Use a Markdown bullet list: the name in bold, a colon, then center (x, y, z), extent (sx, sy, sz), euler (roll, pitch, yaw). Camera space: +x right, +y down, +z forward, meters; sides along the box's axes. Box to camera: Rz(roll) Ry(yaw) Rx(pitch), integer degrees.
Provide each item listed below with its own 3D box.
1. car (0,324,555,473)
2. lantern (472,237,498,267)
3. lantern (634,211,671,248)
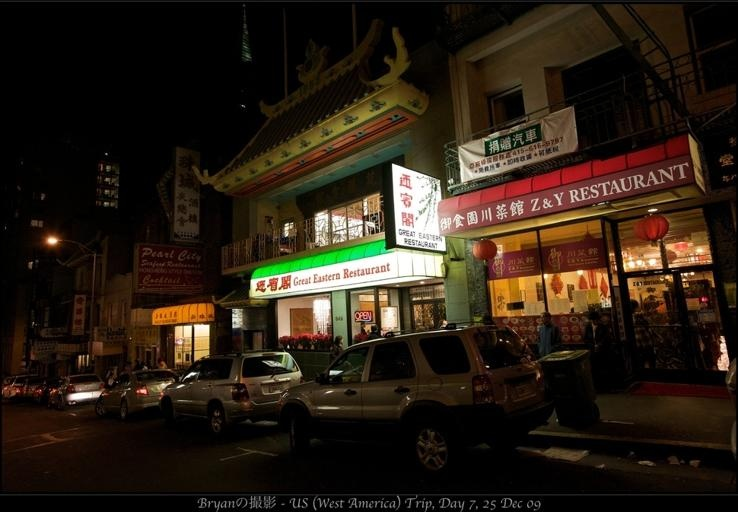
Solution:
- **car**: center (-0.555, 3.510, 14.535), extent (9.742, 2.545, 3.288), euler (-8, -16, 35)
- **lantern**: center (3.553, -0.147, 17.346), extent (0.727, 0.776, 0.707), euler (1, -5, -5)
- **lantern**: center (7.774, -0.723, 15.113), extent (0.894, 0.955, 0.869), euler (-5, 4, 5)
